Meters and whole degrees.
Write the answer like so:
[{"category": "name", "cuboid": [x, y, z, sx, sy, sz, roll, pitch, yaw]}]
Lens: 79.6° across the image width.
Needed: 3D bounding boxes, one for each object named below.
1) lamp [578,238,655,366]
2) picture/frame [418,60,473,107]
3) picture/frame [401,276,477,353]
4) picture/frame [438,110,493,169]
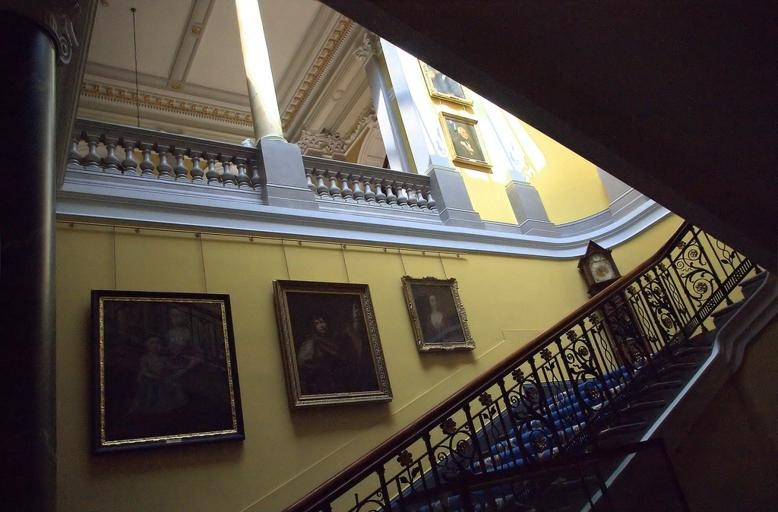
[{"category": "lamp", "cuboid": [3.817, 0.893, 7.801, 0.561, 2.564, 0.304, -21, -6, 21]}, {"category": "picture/frame", "cuboid": [1.340, -3.998, 10.515, 1.157, 1.354, 0.108, 8, -24, -26]}, {"category": "picture/frame", "cuboid": [0.710, 0.908, 7.035, 1.042, 1.179, 0.154, 6, -29, -36]}, {"category": "picture/frame", "cuboid": [1.567, -2.399, 9.751, 1.341, 1.672, 0.155, 11, -37, -37]}]
